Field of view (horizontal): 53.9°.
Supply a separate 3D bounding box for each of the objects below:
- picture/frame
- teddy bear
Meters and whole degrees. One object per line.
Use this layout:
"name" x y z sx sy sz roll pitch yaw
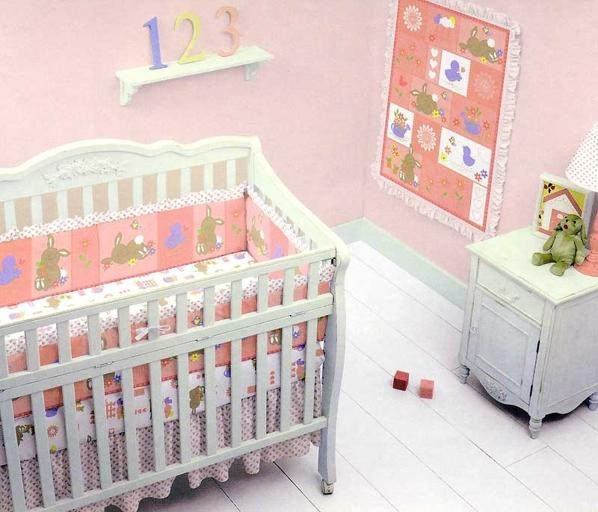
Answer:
"picture/frame" 1.113 -0.195 2.460 0.046 0.253 0.207 -11 37 -25
"teddy bear" 1.070 -0.058 2.404 0.192 0.234 0.194 -2 25 -2
